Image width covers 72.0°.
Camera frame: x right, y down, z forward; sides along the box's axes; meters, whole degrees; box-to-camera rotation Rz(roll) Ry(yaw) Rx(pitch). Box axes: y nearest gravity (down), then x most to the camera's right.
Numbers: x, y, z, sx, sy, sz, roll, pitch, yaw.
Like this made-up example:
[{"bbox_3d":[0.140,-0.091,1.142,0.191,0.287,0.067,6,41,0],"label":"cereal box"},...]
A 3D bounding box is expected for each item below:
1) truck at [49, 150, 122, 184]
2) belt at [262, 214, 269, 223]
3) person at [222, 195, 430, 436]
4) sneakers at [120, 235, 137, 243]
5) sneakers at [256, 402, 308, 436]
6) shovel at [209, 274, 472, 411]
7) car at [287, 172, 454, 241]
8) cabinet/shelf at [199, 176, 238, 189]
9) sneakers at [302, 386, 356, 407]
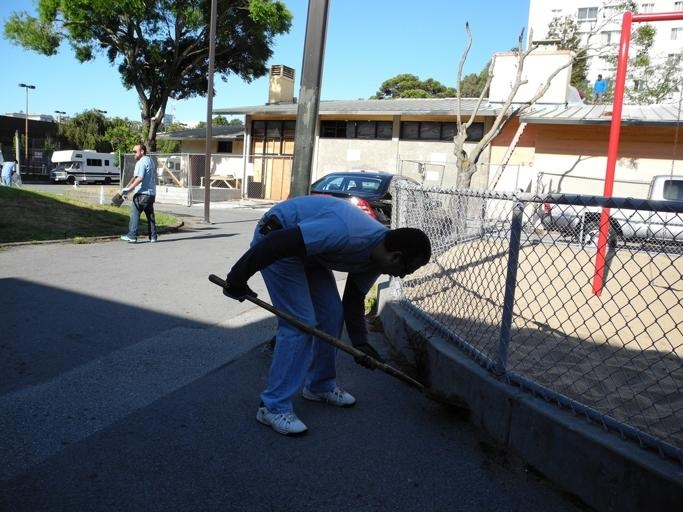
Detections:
[{"bbox_3d":[-21.164,-7.189,38.816,1.762,2.770,5.332,1,9,21],"label":"truck"},{"bbox_3d":[-0.555,-0.267,3.375,0.024,0.049,0.073,21,-11,-25],"label":"belt"},{"bbox_3d":[-0.146,0.402,3.574,1.318,1.636,1.060,5,5,-10],"label":"person"},{"bbox_3d":[-4.229,-0.348,9.360,0.235,0.122,0.445,-4,10,-35],"label":"sneakers"},{"bbox_3d":[-0.431,1.141,3.387,0.345,0.151,0.158,12,16,22],"label":"sneakers"},{"bbox_3d":[0.011,0.764,4.033,1.728,0.332,0.147,29,23,-11],"label":"shovel"},{"bbox_3d":[0.233,-0.942,8.164,1.117,0.912,2.718,3,4,30],"label":"car"},{"bbox_3d":[-6.303,-3.966,25.292,1.908,0.700,1.310,5,9,21],"label":"cabinet/shelf"},{"bbox_3d":[-0.102,1.122,3.774,0.393,0.170,0.161,5,8,6],"label":"sneakers"}]
